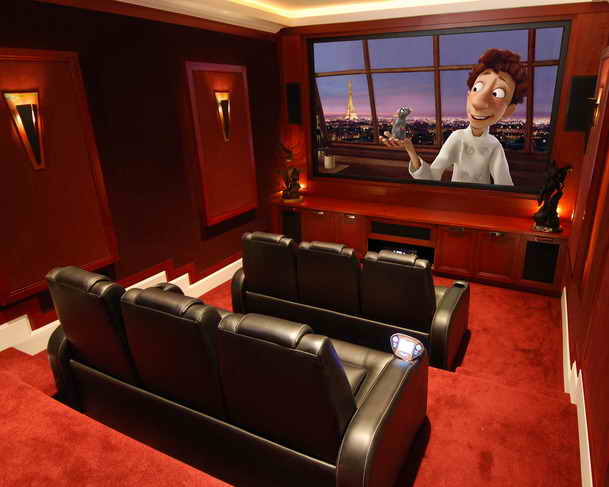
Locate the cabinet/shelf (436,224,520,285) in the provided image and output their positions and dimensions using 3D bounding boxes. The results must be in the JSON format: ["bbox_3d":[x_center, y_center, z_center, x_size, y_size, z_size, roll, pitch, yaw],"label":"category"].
[{"bbox_3d":[1.795,0.091,4.417,0.494,0.395,0.182,10,21,28],"label":"cabinet/shelf"}]

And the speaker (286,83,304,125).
[{"bbox_3d":[-0.138,-1.744,5.427,0.230,0.482,0.077,10,23,33],"label":"speaker"}]

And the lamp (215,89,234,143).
[{"bbox_3d":[-0.830,-1.318,4.507,0.050,0.506,0.225,6,22,26],"label":"lamp"}]

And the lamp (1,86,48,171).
[{"bbox_3d":[-1.947,-0.801,3.077,0.051,0.525,0.220,8,23,29],"label":"lamp"}]
